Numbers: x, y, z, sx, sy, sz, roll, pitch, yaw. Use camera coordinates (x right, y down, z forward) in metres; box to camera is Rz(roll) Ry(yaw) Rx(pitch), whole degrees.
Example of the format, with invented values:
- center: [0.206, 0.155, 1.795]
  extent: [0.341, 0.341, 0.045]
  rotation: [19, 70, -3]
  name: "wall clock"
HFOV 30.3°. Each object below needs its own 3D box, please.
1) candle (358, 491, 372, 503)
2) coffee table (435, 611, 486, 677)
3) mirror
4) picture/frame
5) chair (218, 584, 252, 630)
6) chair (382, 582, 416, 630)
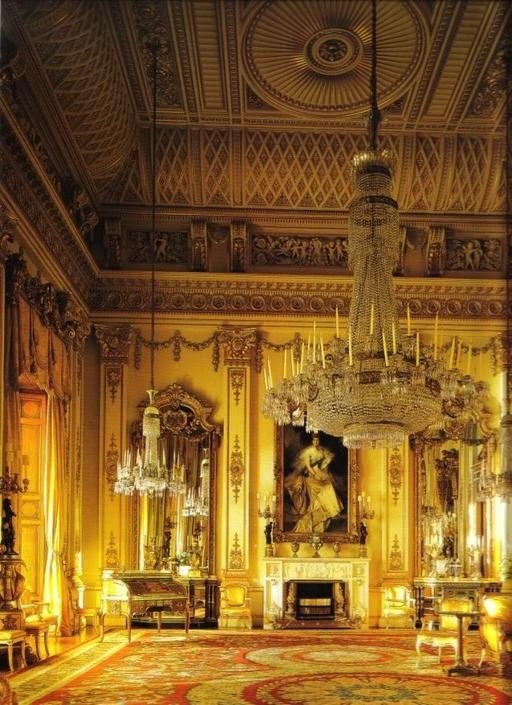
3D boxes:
- center: [1.643, 2.221, 14.403]
  extent: [0.162, 0.129, 0.155]
  rotation: [-1, -1, -1]
  name: "candle"
- center: [1.988, 2.801, 9.157]
  extent: [0.505, 0.621, 0.465]
  rotation: [1, -11, 1]
  name: "coffee table"
- center: [-1.046, 2.237, 13.748]
  extent: [1.173, 3.744, 0.647]
  rotation: [2, -11, -16]
  name: "mirror"
- center: [0.854, 1.956, 13.634]
  extent: [1.434, 1.901, 0.076]
  rotation: [1, -14, -3]
  name: "picture/frame"
- center: [-0.310, 3.547, 13.125]
  extent: [0.474, 0.609, 0.484]
  rotation: [3, -15, -11]
  name: "chair"
- center: [2.054, 3.723, 13.758]
  extent: [0.558, 0.733, 0.586]
  rotation: [0, -22, 1]
  name: "chair"
